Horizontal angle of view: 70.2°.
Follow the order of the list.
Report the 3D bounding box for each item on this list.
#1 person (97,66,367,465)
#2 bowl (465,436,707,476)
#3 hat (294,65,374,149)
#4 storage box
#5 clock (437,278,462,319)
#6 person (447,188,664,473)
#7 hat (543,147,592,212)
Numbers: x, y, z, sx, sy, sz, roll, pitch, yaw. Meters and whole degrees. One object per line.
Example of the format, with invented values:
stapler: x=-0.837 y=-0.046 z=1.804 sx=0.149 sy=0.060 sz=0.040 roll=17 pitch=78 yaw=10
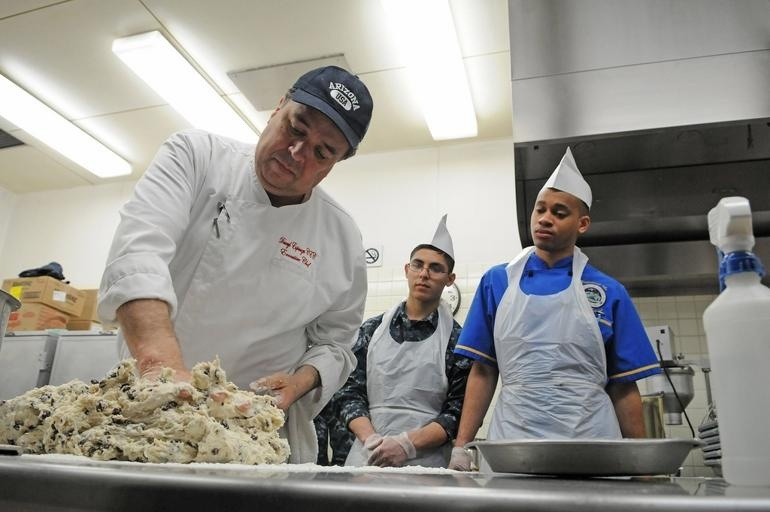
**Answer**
person: x=-0.379 y=-0.001 z=1.654 sx=0.827 sy=1.213 sz=0.440 roll=9 pitch=-17 yaw=-27
bowl: x=0.399 y=0.401 z=1.101 sx=0.441 sy=0.074 sz=0.151 roll=-5 pitch=-17 yaw=21
hat: x=-0.164 y=-0.507 z=1.782 sx=0.269 sy=0.182 sz=0.344 roll=29 pitch=11 yaw=-23
storage box: x=-2.235 y=0.334 z=3.661 sx=0.447 sy=0.275 sz=0.439 roll=1 pitch=-10 yaw=1
clock: x=0.498 y=0.283 z=3.995 sx=0.020 sy=0.197 sz=0.197 roll=-10 pitch=25 yaw=-23
person: x=0.802 y=0.350 z=2.652 sx=0.967 sy=1.851 sz=0.420 roll=-3 pitch=25 yaw=12
hat: x=0.791 y=-0.377 z=2.366 sx=0.145 sy=0.173 sz=0.172 roll=-8 pitch=-2 yaw=42
